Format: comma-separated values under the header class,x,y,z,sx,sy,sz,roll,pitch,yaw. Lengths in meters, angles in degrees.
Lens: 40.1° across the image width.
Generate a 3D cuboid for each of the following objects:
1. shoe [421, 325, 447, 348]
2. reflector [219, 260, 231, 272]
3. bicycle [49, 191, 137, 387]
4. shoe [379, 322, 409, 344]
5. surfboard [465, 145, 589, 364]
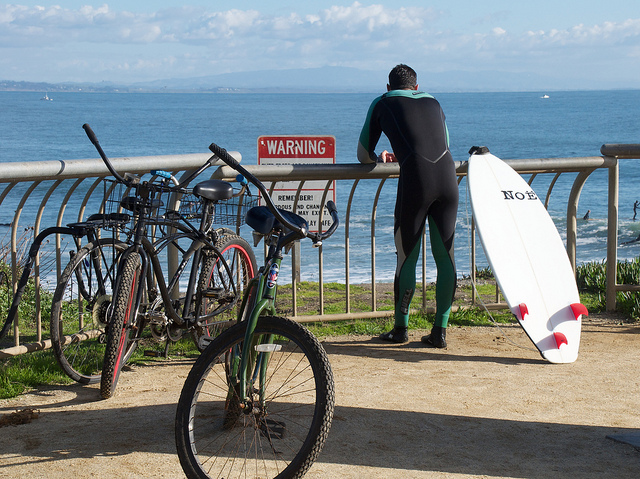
class,x,y,z,sx,sy,sz,roll,pitch,yaw
shoe,1.094,0.916,8.260,0.119,0.185,0.320,5,0,-29
reflector,-0.841,0.231,7.682,0.035,0.150,0.038,24,16,-17
bicycle,-1.891,0.363,7.341,0.704,1.555,1.345,-2,15,-14
shoe,0.720,0.900,8.443,0.302,0.188,0.120,7,3,44
surfboard,1.959,0.139,8.344,1.049,2.175,0.437,-6,-28,-31
